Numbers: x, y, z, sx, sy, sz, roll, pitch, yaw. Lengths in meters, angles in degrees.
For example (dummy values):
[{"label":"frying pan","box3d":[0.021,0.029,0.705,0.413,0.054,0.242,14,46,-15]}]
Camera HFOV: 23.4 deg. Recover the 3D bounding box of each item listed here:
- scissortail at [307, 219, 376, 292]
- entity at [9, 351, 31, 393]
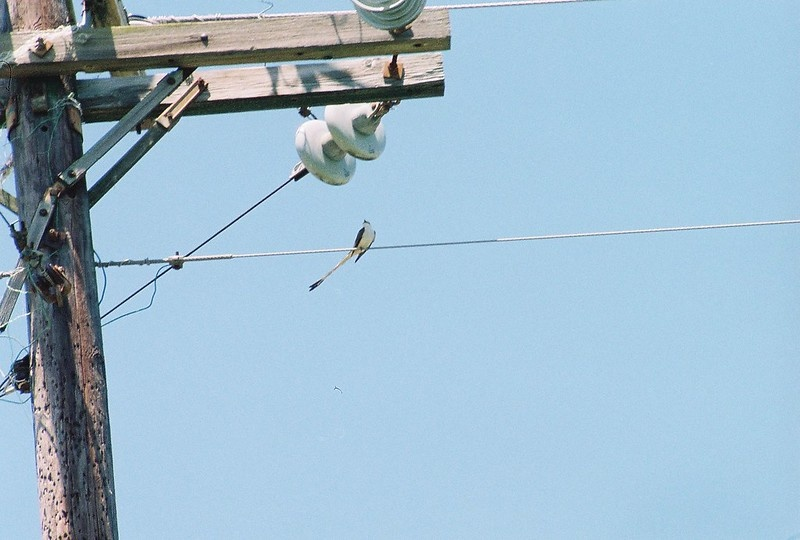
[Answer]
[{"label":"scissortail","box3d":[-0.274,-0.102,10.394,0.216,0.138,0.520,42,-93,6]},{"label":"entity","box3d":[-2.414,0.679,12.319,0.109,0.134,0.185,-5,-64,12]}]
